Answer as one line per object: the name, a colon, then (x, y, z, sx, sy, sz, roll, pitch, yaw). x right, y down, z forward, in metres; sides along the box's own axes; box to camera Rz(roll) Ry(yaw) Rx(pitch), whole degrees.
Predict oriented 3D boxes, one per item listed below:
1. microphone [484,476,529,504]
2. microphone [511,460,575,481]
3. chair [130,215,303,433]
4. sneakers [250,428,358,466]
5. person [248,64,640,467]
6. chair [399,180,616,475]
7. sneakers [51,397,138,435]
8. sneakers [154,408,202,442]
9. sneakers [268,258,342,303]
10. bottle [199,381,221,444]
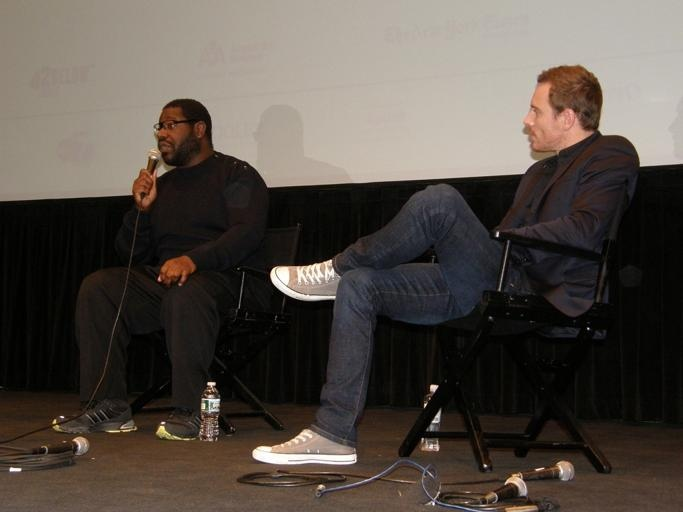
microphone: (0.499, 0.692, 2.364, 0.117, 0.067, 0.066, -15, 17, -37)
microphone: (0.697, 0.745, 2.675, 0.214, 0.076, 0.067, -2, 7, -26)
chair: (-0.679, 0.272, 3.464, 0.748, 1.126, 0.657, -10, -14, 3)
sneakers: (-0.122, 0.684, 2.768, 0.388, 0.162, 0.134, 3, -8, 2)
person: (0.385, 0.003, 2.930, 1.239, 1.567, 0.710, 8, -4, 0)
chair: (0.730, 0.349, 3.043, 0.819, 1.133, 0.806, 7, -10, -21)
sneakers: (-1.025, 0.685, 3.299, 0.358, 0.172, 0.144, 8, -12, -27)
sneakers: (-0.649, 0.710, 3.235, 0.082, 0.107, 0.235, -5, -18, 40)
sneakers: (-0.125, 0.092, 2.851, 0.312, 0.115, 0.135, 1, -11, -1)
bottle: (-0.554, 0.645, 3.257, 0.094, 0.249, 0.227, -2, 4, -9)
